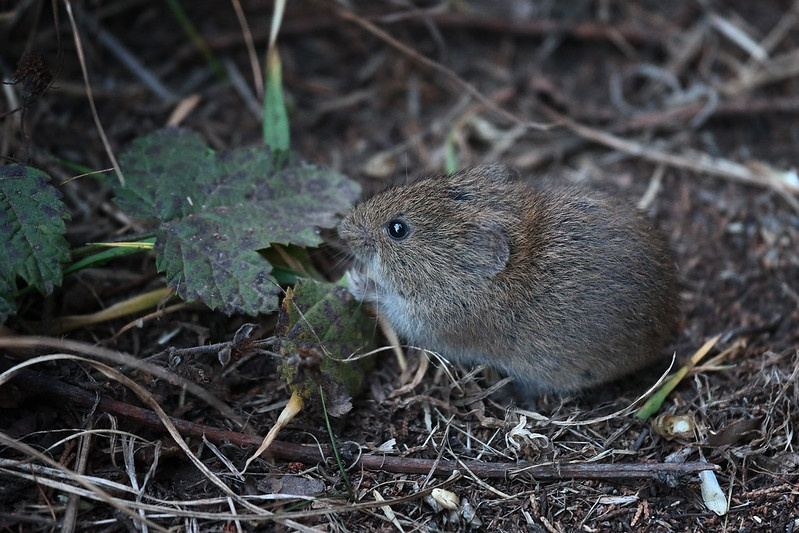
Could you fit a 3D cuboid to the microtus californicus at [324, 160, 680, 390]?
[{"bbox_3d":[1.133,0.105,6.263,3.129,1.451,1.811,-3,27,8],"label":"microtus californicus"}]
